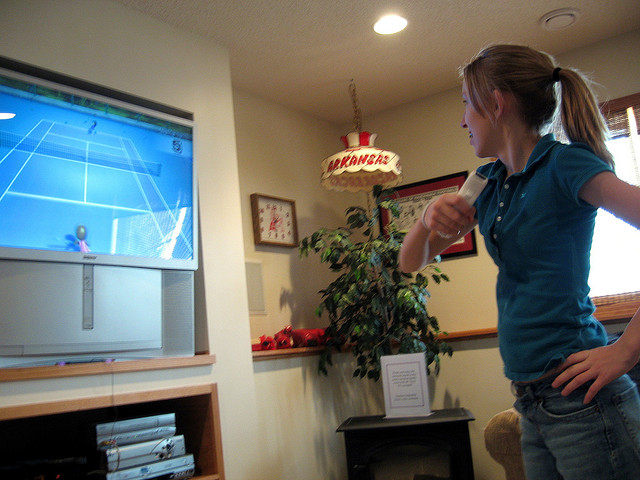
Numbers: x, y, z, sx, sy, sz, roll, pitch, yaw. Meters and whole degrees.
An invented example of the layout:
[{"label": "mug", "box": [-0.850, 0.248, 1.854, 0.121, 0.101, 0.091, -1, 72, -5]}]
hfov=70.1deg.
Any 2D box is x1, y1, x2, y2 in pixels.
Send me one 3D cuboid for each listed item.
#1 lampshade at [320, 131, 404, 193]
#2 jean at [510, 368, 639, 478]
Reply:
[{"label": "lampshade", "box": [0.287, -0.451, 2.974, 0.532, 0.421, 0.460, -1, -2, 38]}, {"label": "jean", "box": [0.578, 0.420, 1.024, 0.256, 0.259, 0.133, -9, -13, 25]}]
